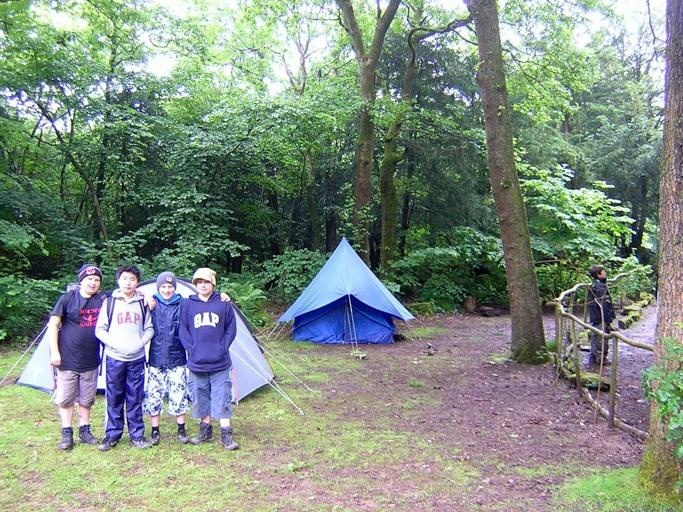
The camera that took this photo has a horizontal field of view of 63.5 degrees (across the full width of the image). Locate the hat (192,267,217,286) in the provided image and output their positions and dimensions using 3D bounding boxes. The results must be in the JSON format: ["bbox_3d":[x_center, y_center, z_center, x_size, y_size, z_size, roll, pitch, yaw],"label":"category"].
[{"bbox_3d":[-1.916,0.285,7.862,0.226,0.173,0.320,-1,-16,6],"label":"hat"}]

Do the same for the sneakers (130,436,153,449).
[{"bbox_3d":[-2.743,2.554,7.562,0.285,0.142,0.129,2,1,1],"label":"sneakers"}]

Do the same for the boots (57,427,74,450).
[{"bbox_3d":[-3.768,2.467,7.518,0.176,0.267,0.264,-3,15,-18],"label":"boots"}]

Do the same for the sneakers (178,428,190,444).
[{"bbox_3d":[-2.241,2.532,7.771,0.101,0.125,0.266,5,-8,-35],"label":"sneakers"}]

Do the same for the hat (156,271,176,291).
[{"bbox_3d":[-2.456,0.354,7.703,0.202,0.234,0.267,12,-3,-24],"label":"hat"}]

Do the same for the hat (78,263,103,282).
[{"bbox_3d":[-3.504,0.248,7.593,0.282,0.238,0.225,-12,-5,2],"label":"hat"}]

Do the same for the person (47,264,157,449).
[{"bbox_3d":[-3.253,1.378,7.518,1.305,2.394,0.740,-1,14,-7],"label":"person"}]

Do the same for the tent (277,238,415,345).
[{"bbox_3d":[0.071,1.223,13.840,2.325,1.744,2.432,-1,-1,-1],"label":"tent"}]
